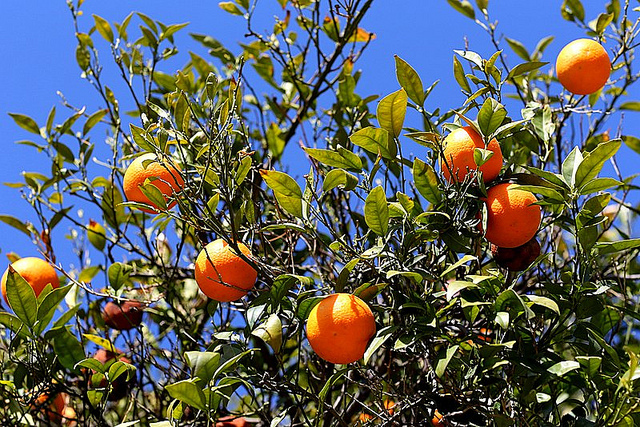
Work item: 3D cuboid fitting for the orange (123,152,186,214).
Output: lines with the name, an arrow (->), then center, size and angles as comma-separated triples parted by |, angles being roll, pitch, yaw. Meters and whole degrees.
orange -> -0.753, -0.139, 3.184 | 0.180, 0.228, 0.185 | -32, 10, 8

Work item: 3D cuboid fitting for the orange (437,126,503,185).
orange -> 0.643, -0.228, 3.074 | 0.228, 0.254, 0.281 | -5, -17, 20

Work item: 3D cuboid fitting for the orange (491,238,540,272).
orange -> 0.876, 0.175, 3.204 | 0.164, 0.204, 0.167 | -18, 19, 15

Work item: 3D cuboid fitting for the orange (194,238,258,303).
orange -> -0.436, 0.265, 3.216 | 0.277, 0.349, 0.279 | -2, -9, -33

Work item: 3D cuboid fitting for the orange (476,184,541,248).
orange -> 0.767, 0.010, 3.051 | 0.238, 0.303, 0.259 | 1, 41, -2

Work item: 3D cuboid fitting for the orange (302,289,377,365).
orange -> 0.091, 0.492, 2.967 | 0.300, 0.339, 0.303 | -2, 4, -32

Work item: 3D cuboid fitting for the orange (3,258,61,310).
orange -> -1.365, 0.314, 3.250 | 0.251, 0.224, 0.431 | -3, 5, -17

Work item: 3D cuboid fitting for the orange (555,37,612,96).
orange -> 1.233, -0.680, 3.316 | 0.259, 0.329, 0.274 | 4, -16, 27
